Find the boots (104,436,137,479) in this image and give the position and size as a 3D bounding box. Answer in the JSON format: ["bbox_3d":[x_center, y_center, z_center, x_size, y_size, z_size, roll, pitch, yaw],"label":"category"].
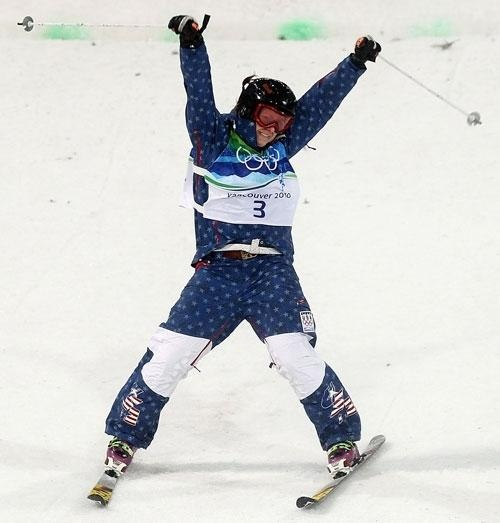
[{"bbox_3d":[-0.598,0.879,3.624,0.138,0.109,0.266,25,2,-10],"label":"boots"}]

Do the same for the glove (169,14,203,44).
[{"bbox_3d":[-0.278,-1.010,3.456,0.144,0.131,0.155,1,17,-1],"label":"glove"}]

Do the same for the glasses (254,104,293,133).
[{"bbox_3d":[0.105,-0.675,3.728,0.139,0.070,0.156,21,-1,-16],"label":"glasses"}]

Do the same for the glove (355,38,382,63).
[{"bbox_3d":[0.547,-0.969,3.686,0.124,0.123,0.147,1,6,11],"label":"glove"}]

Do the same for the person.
[{"bbox_3d":[-0.029,-0.063,3.652,1.078,2.045,1.038,4,19,5],"label":"person"}]

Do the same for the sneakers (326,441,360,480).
[{"bbox_3d":[0.405,0.891,3.601,0.151,0.083,0.223,-18,7,18],"label":"sneakers"}]
